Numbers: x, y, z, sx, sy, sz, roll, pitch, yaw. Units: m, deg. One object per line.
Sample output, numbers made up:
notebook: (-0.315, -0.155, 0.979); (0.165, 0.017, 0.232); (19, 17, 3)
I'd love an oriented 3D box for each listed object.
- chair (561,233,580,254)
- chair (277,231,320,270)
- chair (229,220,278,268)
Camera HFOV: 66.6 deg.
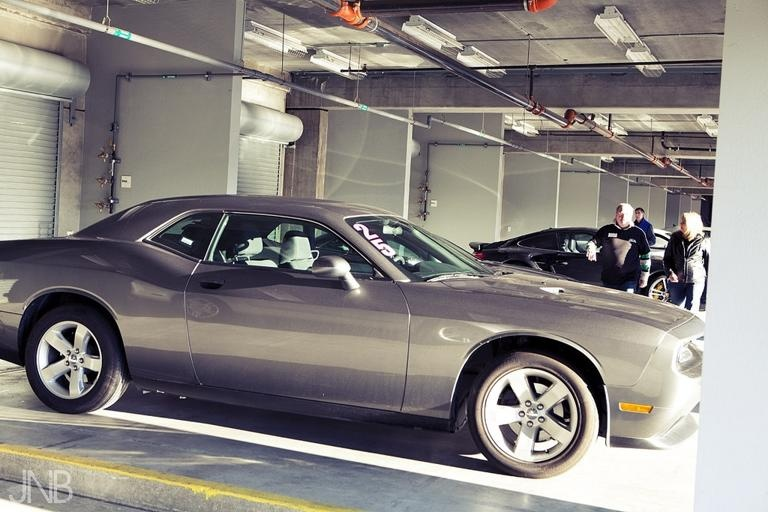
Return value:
chair: (3.559, -0.253, 11.074); (0.325, 0.550, 0.337); (0, -2, 17)
chair: (-0.697, -0.038, 4.644); (0.332, 0.333, 0.310); (2, 0, 26)
chair: (-1.023, -0.087, 4.723); (0.379, 0.357, 0.282); (4, -1, 13)
